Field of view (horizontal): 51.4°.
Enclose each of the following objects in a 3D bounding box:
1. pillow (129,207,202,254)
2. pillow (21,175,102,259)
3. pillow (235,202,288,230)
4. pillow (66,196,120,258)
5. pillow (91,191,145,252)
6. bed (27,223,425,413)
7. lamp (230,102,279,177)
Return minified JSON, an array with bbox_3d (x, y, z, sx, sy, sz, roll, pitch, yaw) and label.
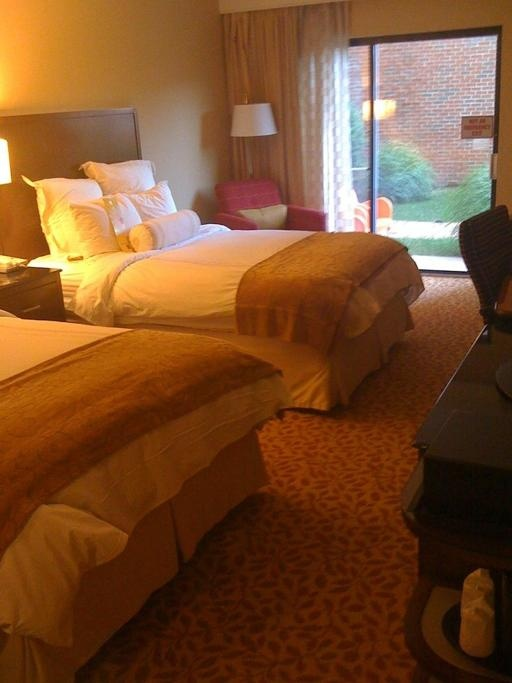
[{"bbox_3d":[-0.733,-0.937,4.487,0.238,0.265,0.785,28,24,15],"label":"pillow"},{"bbox_3d":[-1.559,-0.985,4.233,0.569,0.607,0.177,-7,5,-39],"label":"pillow"},{"bbox_3d":[0.129,-1.399,5.976,0.418,0.383,0.433,-4,21,-4],"label":"pillow"},{"bbox_3d":[-1.284,-0.871,4.159,0.181,0.420,0.410,-3,4,44],"label":"pillow"},{"bbox_3d":[-1.140,-0.944,4.359,0.120,0.466,0.355,-9,7,34],"label":"pillow"},{"bbox_3d":[-0.171,-0.318,3.751,2.016,0.546,1.546,9,28,17],"label":"bed"},{"bbox_3d":[-0.006,-2.368,6.296,0.511,0.829,0.475,-5,22,8],"label":"lamp"}]
